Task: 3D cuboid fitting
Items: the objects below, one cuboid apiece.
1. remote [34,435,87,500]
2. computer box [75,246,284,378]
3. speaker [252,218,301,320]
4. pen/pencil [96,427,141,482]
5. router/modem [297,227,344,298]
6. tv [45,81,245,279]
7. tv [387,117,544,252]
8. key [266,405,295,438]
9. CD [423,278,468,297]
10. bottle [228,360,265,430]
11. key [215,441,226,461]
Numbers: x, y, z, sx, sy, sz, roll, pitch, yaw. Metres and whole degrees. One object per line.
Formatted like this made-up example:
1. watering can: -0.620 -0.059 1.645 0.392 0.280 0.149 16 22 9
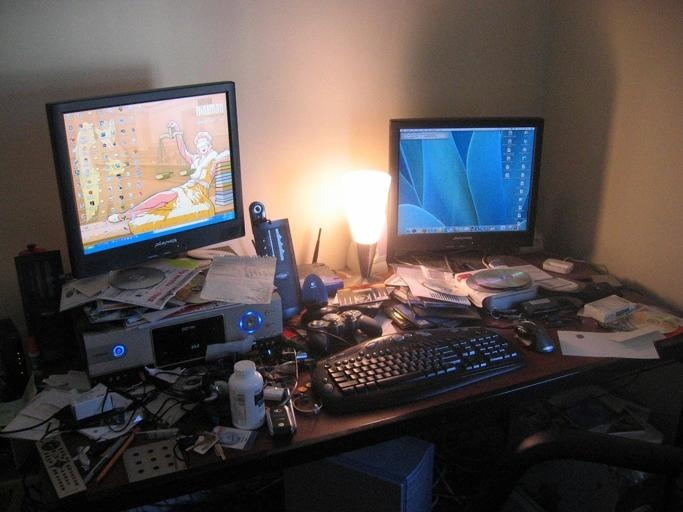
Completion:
1. remote: -0.665 0.507 1.298 0.072 0.028 0.195 -13 40 -32
2. computer box: -0.479 0.143 1.579 0.530 0.244 0.389 -13 25 -35
3. speaker: -0.214 0.041 1.858 0.146 0.337 0.090 4 24 -2
4. pen/pencil: -0.542 0.484 1.359 0.020 0.022 0.177 28 31 4
5. router/modem: -0.086 0.024 2.064 0.188 0.186 0.164 -9 30 -28
6. tv: -0.564 -0.231 1.654 0.065 0.494 0.577 17 26 42
7. tv: 0.471 -0.259 2.116 0.574 0.496 0.047 0 11 17
8. key: -0.162 0.426 1.428 0.071 0.021 0.098 -5 26 -14
9. CD: 0.361 0.109 1.935 0.077 0.025 0.094 15 16 2
10. bottle: -0.249 0.357 1.426 0.096 0.176 0.091 -5 15 1
11. key: -0.301 0.484 1.351 0.016 0.013 0.049 13 21 -34
